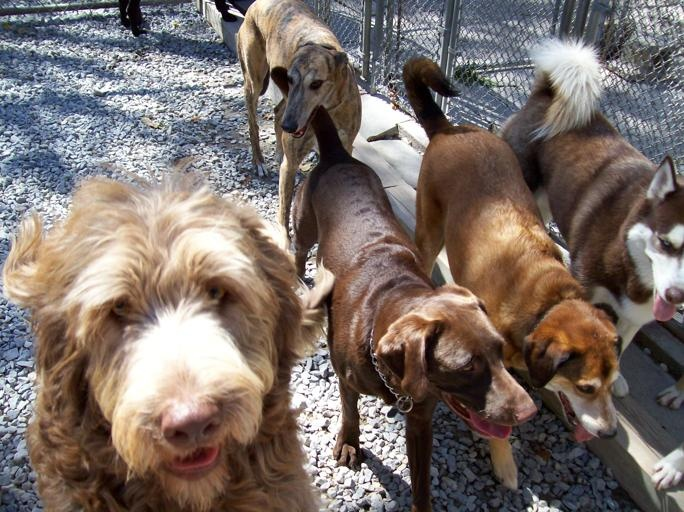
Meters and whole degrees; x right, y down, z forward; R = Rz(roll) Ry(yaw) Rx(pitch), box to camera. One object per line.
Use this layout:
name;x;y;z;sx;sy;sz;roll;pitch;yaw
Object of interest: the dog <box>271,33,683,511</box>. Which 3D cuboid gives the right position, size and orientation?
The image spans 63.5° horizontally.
dog;0.976;0.148;3.751;0.738;1.690;3.265;-13;66;-6
